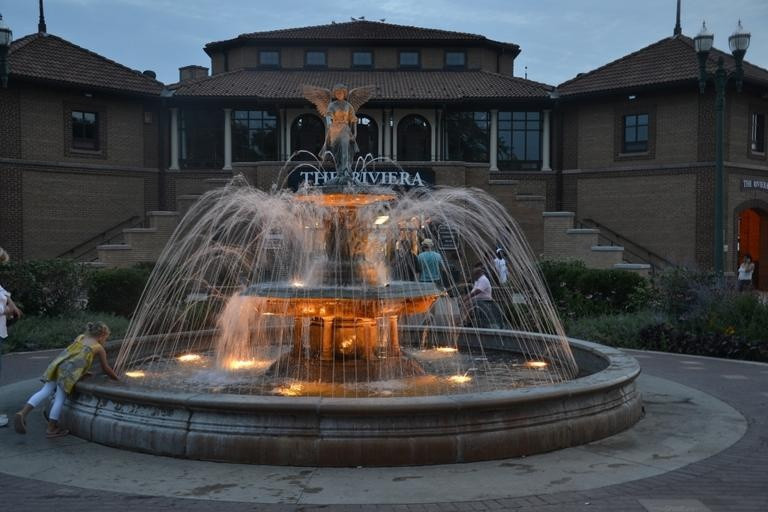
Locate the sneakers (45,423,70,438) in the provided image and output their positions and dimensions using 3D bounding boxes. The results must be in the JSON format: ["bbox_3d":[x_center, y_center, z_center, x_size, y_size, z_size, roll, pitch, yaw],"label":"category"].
[{"bbox_3d":[-5.431,2.927,12.221,0.413,0.185,0.185,0,1,-16],"label":"sneakers"}]

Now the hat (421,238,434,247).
[{"bbox_3d":[1.485,-0.427,25.328,0.363,0.169,0.491,0,3,-1],"label":"hat"}]

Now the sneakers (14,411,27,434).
[{"bbox_3d":[-5.934,2.740,12.029,0.182,0.364,0.163,-5,-3,7],"label":"sneakers"}]

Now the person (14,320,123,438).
[{"bbox_3d":[-5.397,2.061,12.431,1.469,1.719,1.134,-1,13,-4],"label":"person"}]
